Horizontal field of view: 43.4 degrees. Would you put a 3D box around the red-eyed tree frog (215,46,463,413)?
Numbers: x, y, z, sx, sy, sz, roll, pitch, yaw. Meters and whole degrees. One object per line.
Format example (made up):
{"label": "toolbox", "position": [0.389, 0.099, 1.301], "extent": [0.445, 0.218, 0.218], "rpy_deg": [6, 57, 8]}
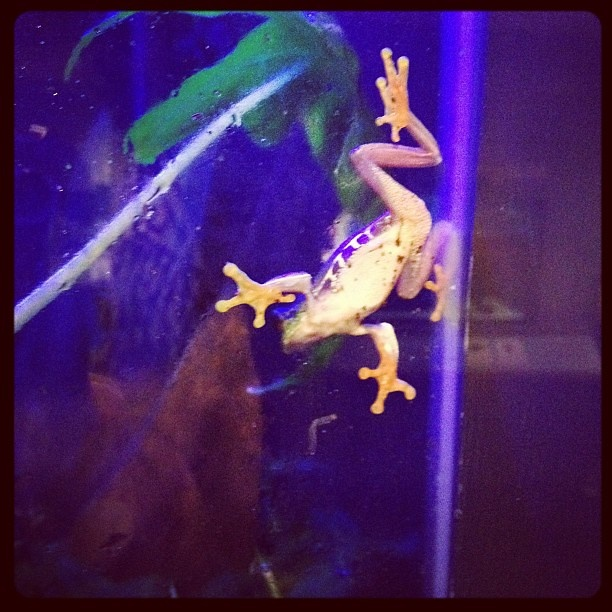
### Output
{"label": "red-eyed tree frog", "position": [0.082, -0.128, 1.592], "extent": [0.468, 0.623, 0.160], "rpy_deg": [33, -9, -15]}
